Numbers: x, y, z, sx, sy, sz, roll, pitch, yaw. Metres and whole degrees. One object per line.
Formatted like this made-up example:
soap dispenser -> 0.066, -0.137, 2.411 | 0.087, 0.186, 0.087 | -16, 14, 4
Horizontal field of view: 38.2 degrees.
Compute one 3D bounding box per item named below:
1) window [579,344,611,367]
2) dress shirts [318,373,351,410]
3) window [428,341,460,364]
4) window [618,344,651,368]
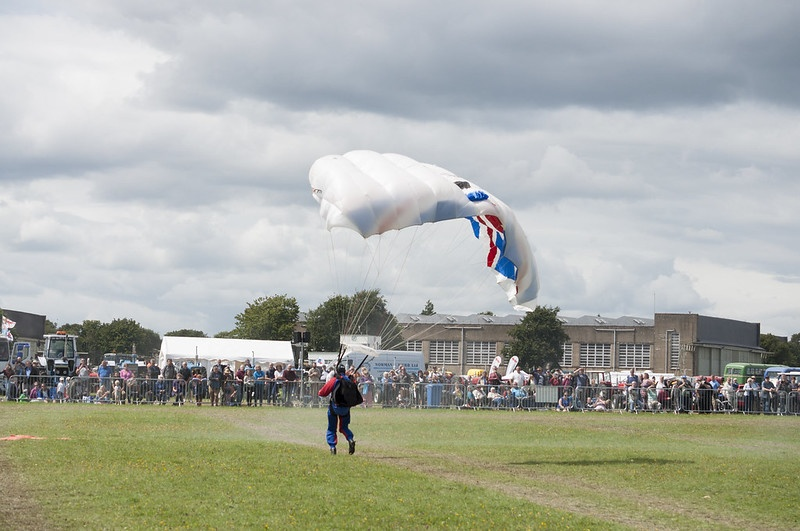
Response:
window -> 20.013, 9.187, 117.118 | 2.461, 1.973, 0.261 | -1, -4, 18
dress shirts -> -2.187, 4.069, 37.415 | 1.138, 1.014, 1.053 | 7, -8, -39
window -> 4.822, 9.128, 121.295 | 2.498, 1.745, 0.198 | 1, 2, 13
window -> 23.657, 9.094, 115.368 | 2.601, 1.808, 0.269 | 0, -1, 21
